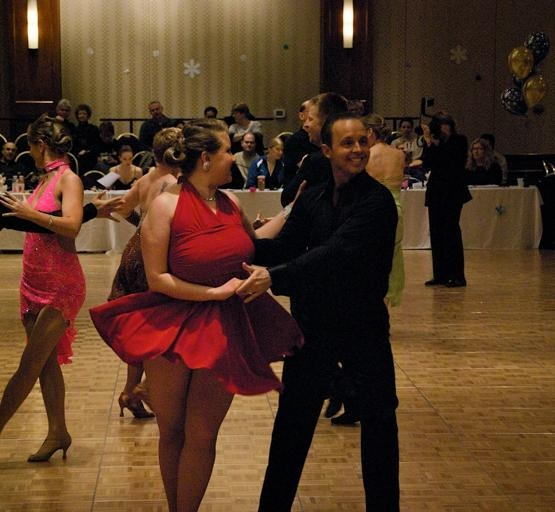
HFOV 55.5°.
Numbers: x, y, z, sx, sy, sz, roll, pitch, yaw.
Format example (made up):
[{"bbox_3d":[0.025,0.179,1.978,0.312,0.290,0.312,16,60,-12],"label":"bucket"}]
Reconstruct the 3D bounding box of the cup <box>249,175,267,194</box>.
[{"bbox_3d":[-0.273,-1.027,7.717,0.220,0.338,0.234,3,-28,2],"label":"cup"}]

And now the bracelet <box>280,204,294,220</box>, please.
[{"bbox_3d":[0.032,-0.161,1.887,0.037,0.050,0.053,3,-21,1],"label":"bracelet"}]

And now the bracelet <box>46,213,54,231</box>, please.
[{"bbox_3d":[-0.893,-0.135,2.089,0.021,0.062,0.043,5,11,-11],"label":"bracelet"}]

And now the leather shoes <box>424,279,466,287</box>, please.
[{"bbox_3d":[2.027,0.323,6.399,0.494,0.075,0.210,2,10,10],"label":"leather shoes"}]

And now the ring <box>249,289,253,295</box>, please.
[{"bbox_3d":[-0.075,0.096,1.440,0.010,0.014,0.033,1,-15,6],"label":"ring"}]

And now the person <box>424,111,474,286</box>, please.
[{"bbox_3d":[2.053,-0.690,6.445,0.597,2.054,0.607,1,10,2],"label":"person"}]
